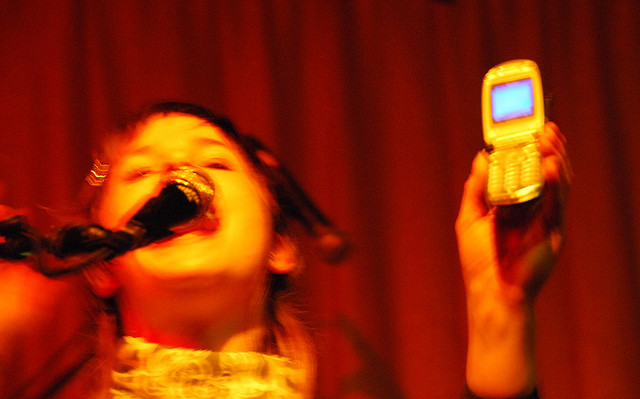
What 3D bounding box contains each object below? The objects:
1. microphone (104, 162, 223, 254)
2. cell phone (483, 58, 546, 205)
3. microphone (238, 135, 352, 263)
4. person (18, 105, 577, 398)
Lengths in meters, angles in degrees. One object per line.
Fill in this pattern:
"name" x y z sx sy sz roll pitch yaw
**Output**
"microphone" -0.355 0.024 1.509 0.089 0.105 0.292 -53 -4 41
"cell phone" 0.417 -0.150 1.442 0.126 0.323 0.093 -3 -4 16
"microphone" -0.068 0.001 1.755 0.306 0.327 0.101 2 -6 -43
"person" -0.130 0.140 1.620 1.335 0.777 0.511 -2 -4 -3
